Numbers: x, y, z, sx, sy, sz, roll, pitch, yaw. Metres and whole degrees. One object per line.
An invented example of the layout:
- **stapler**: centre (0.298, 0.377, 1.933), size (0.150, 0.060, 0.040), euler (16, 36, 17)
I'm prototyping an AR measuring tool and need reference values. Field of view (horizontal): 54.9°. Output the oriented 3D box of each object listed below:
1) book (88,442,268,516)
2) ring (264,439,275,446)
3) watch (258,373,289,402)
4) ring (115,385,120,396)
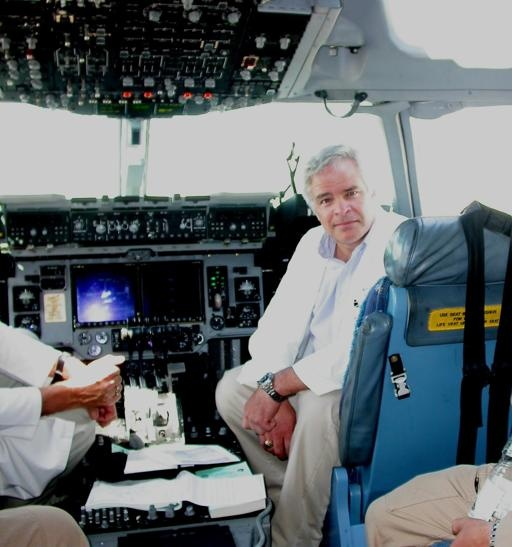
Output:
- **book**: centre (-0.259, 0.738, 1.649), size (0.586, 0.076, 0.276), euler (-3, -2, 0)
- **ring**: centre (0.048, 0.665, 1.944), size (0.025, 0.027, 0.011), euler (7, -3, 4)
- **watch**: centre (0.057, 0.432, 1.953), size (0.083, 0.117, 0.116), euler (-43, -2, -4)
- **ring**: centre (-0.548, 0.467, 1.953), size (0.012, 0.027, 0.027), euler (26, 14, 15)
